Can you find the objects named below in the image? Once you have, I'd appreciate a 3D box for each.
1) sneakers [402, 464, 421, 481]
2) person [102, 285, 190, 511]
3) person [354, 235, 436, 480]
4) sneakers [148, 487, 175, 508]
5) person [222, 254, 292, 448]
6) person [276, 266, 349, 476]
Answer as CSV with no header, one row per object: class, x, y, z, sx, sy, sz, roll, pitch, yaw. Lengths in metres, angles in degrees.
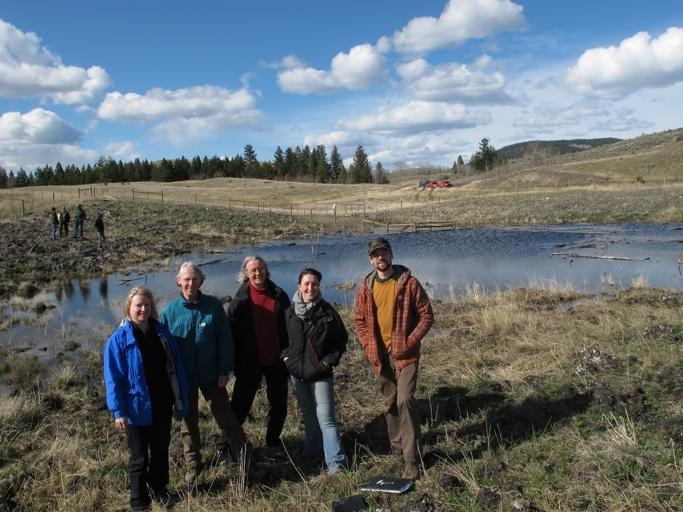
sneakers,0.962,2.958,7.234,0.241,0.166,0.198,-4,13,8
person,-2.668,1.911,7.240,0.999,2.863,0.631,-13,15,-33
person,0.814,1.363,7.633,0.788,3.159,1.352,-11,14,-25
sneakers,-2.471,3.276,7.257,0.203,0.131,0.288,11,9,-23
person,-1.324,1.602,8.289,1.040,3.239,1.027,-1,19,-4
person,-0.335,1.633,7.846,0.720,2.836,1.172,-15,16,-37
